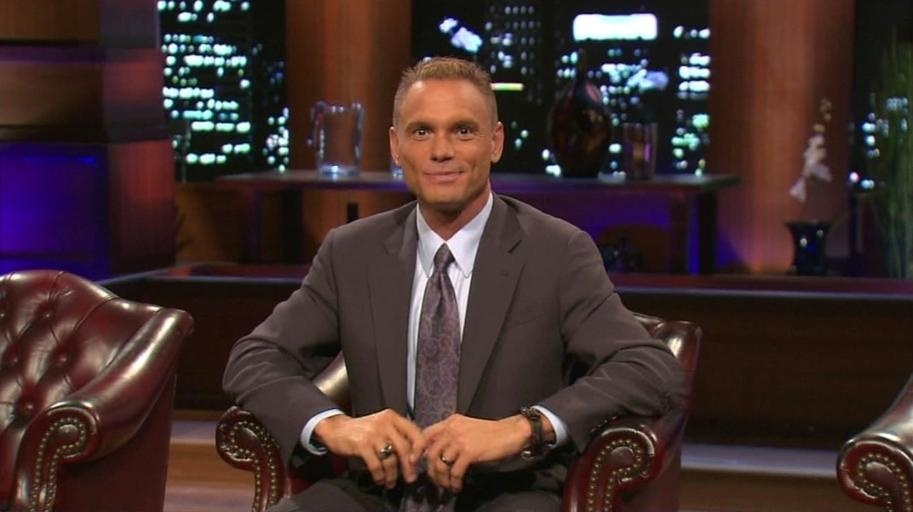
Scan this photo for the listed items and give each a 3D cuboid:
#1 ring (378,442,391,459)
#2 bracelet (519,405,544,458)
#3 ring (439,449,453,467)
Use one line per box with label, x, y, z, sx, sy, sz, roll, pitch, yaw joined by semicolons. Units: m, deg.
ring;-0.229;0.648;2.623;0.040;0.041;0.028;20;-23;24
bracelet;0.263;0.596;2.639;0.098;0.133;0.128;-2;3;-7
ring;-0.034;0.671;2.588;0.042;0.013;0.040;18;39;-15
